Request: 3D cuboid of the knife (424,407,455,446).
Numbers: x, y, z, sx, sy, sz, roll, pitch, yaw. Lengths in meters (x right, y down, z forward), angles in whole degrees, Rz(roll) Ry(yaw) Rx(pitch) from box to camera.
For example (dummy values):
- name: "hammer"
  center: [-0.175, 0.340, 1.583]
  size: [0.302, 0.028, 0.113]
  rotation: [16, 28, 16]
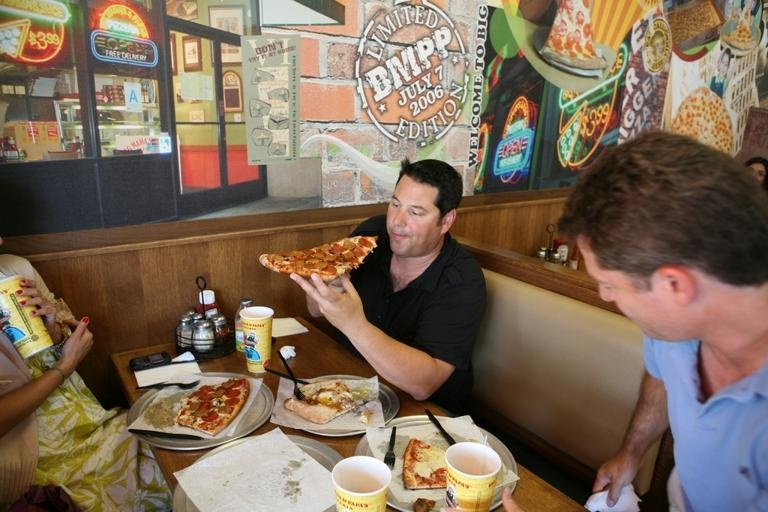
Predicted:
- name: "knife"
  center: [0.206, 0.618, 1.818]
  size: [0.033, 0.011, 0.229]
  rotation: [-22, 18, -9]

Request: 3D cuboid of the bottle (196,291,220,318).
- name: "bottle"
  center: [-0.872, 0.238, 2.469]
  size: [0.081, 0.144, 0.082]
  rotation: [-4, 14, 1]

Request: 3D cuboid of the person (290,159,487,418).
- name: "person"
  center: [0.004, 0.172, 2.389]
  size: [0.773, 1.417, 0.756]
  rotation: [-27, 42, -35]

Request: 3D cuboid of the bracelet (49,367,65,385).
- name: "bracelet"
  center: [-1.328, 0.483, 2.054]
  size: [0.018, 0.061, 0.064]
  rotation: [-26, -7, -18]

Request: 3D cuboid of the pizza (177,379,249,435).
- name: "pizza"
  center: [-0.644, 0.562, 1.927]
  size: [0.229, 0.070, 0.302]
  rotation: [3, 15, 14]

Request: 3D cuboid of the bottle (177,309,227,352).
- name: "bottle"
  center: [-0.827, 0.358, 2.298]
  size: [0.190, 0.107, 0.181]
  rotation: [2, 16, -1]

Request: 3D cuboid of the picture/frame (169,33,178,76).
- name: "picture/frame"
  center: [-1.040, -1.000, 2.482]
  size: [0.039, 0.193, 0.024]
  rotation: [-7, 18, -20]

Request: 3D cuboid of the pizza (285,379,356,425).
- name: "pizza"
  center: [-0.224, 0.556, 1.915]
  size: [0.161, 0.032, 0.152]
  rotation: [-13, 24, -24]

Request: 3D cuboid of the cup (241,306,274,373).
- name: "cup"
  center: [-0.547, 0.357, 2.155]
  size: [0.147, 0.262, 0.143]
  rotation: [0, 16, 0]

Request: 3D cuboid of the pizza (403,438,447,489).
- name: "pizza"
  center: [0.138, 0.693, 1.679]
  size: [0.140, 0.081, 0.169]
  rotation: [1, 15, 4]

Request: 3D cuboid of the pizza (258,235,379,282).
- name: "pizza"
  center: [-0.251, 0.009, 2.186]
  size: [0.387, 0.073, 0.245]
  rotation: [-15, 15, -42]

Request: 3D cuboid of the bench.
- name: "bench"
  center: [0.732, 0.500, 2.059]
  size: [0.481, 0.827, 0.887]
  rotation: [-18, 33, -35]
